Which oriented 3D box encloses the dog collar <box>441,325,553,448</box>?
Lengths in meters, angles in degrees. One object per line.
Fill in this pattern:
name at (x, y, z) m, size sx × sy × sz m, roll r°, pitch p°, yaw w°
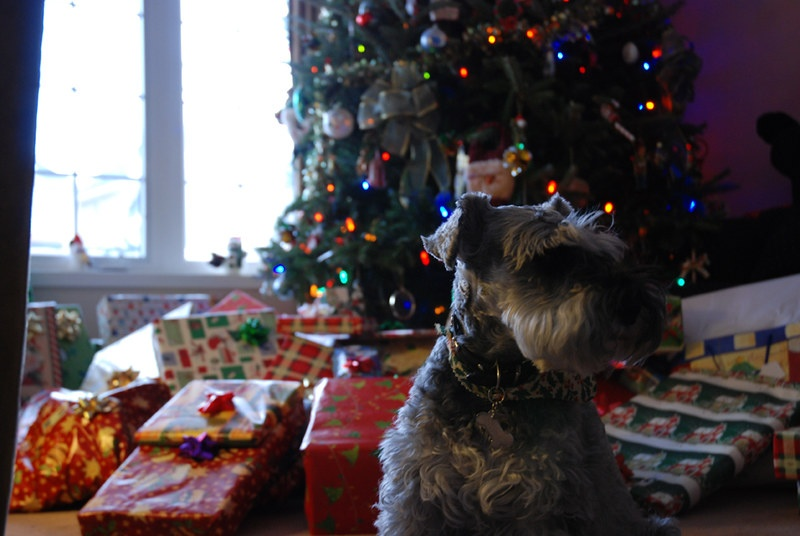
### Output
dog collar at (0.238, 0.323, 2.050) m, size 0.291 × 0.209 × 0.152 m, roll 42°, pitch -6°, yaw 10°
